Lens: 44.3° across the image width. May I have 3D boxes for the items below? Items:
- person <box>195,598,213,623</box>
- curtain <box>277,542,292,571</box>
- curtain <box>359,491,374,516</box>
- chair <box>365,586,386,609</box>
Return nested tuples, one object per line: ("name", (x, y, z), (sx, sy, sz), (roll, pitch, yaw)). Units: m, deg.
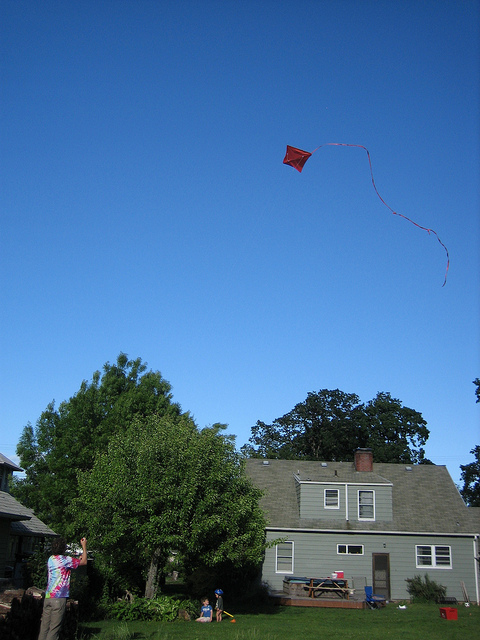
("person", (-1.079, 9.204, 18.656), (0.504, 0.790, 0.468), (25, -47, -23))
("curtain", (2.025, 10.764, 26.904), (0.666, 0.948, 0.722), (-1, 14, 4))
("curtain", (6.021, 8.789, 28.206), (0.747, 1.437, 0.759), (-3, -17, 8))
("chair", (5.410, 11.302, 24.077), (0.568, 0.812, 0.804), (12, -29, -5))
